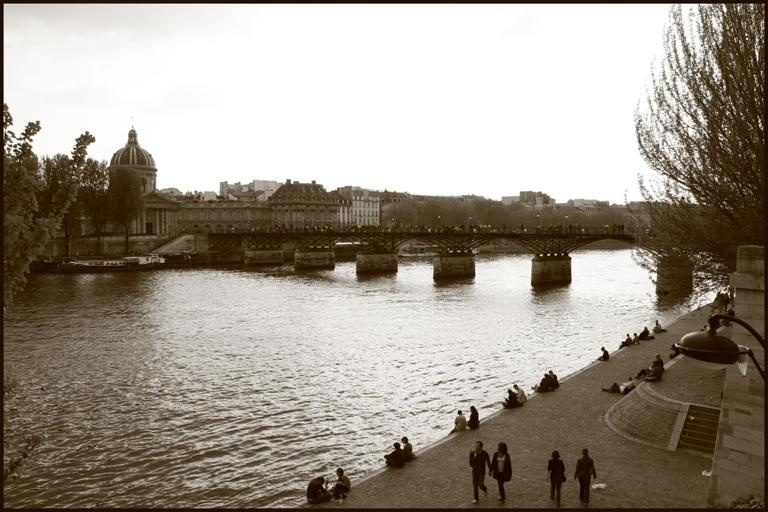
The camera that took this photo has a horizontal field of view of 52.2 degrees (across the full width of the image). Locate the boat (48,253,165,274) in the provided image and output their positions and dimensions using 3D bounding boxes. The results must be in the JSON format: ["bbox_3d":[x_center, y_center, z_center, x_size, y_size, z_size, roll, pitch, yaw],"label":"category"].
[{"bbox_3d":[-27.764,0.387,82.053,2.680,1.967,11.410,-3,-4,40],"label":"boat"}]

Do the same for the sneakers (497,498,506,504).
[{"bbox_3d":[3.670,7.655,24.511,0.190,0.181,0.110,7,-6,-35],"label":"sneakers"}]

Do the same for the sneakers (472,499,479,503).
[{"bbox_3d":[2.848,7.662,24.570,0.187,0.108,0.136,0,2,6],"label":"sneakers"}]
